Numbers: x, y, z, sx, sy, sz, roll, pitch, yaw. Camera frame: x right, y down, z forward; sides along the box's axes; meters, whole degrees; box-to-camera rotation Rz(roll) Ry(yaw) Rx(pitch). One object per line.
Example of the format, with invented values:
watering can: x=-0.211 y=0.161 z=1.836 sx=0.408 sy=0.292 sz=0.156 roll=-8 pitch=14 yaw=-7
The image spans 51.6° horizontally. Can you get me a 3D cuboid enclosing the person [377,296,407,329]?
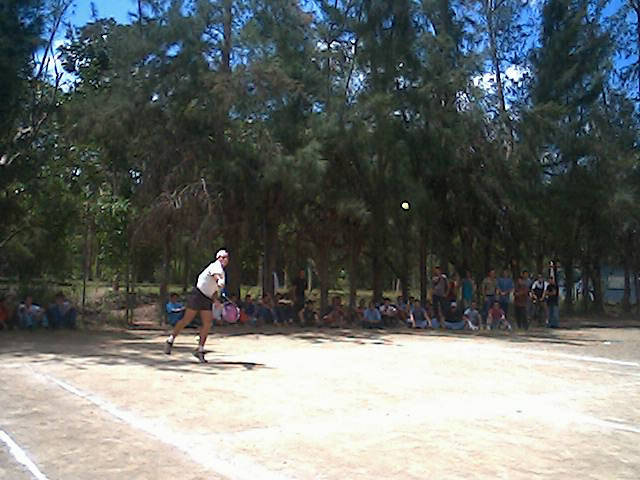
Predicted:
person: x=2.395 y=2.484 z=22.837 sx=0.700 sy=1.095 sz=0.525 roll=0 pitch=-1 yaw=-28

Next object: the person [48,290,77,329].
person: x=-7.856 y=2.160 z=20.430 sx=0.709 sy=1.043 sz=0.899 roll=1 pitch=1 yaw=-5

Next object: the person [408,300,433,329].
person: x=3.401 y=2.530 z=22.967 sx=0.911 sy=1.174 sz=0.815 roll=2 pitch=-17 yaw=-16

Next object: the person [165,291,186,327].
person: x=-4.561 y=2.150 z=20.891 sx=0.485 sy=1.084 sz=0.493 roll=-6 pitch=-5 yaw=41

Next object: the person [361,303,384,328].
person: x=1.725 y=2.678 z=22.545 sx=0.665 sy=1.093 sz=0.658 roll=2 pitch=-35 yaw=0

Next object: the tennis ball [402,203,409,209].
tennis ball: x=3.250 y=-1.307 z=24.966 sx=0.215 sy=0.214 sz=0.214 roll=1 pitch=1 yaw=0

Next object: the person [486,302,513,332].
person: x=6.253 y=2.638 z=23.398 sx=0.891 sy=1.140 sz=0.629 roll=2 pitch=-12 yaw=-7
